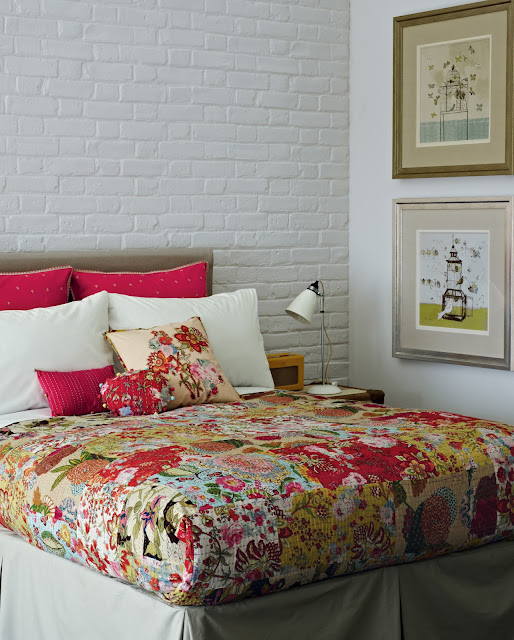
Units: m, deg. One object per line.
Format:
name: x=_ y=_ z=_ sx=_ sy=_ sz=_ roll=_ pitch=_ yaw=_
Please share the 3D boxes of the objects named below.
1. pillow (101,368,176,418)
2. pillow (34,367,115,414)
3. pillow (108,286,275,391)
pillow: x=-0.397 y=0.241 z=1.871 sx=0.156 sy=0.084 sz=0.183 roll=-1 pitch=-1 yaw=8
pillow: x=-0.598 y=0.226 z=1.927 sx=0.267 sy=0.148 sz=0.077 roll=-7 pitch=-23 yaw=-41
pillow: x=-0.279 y=0.077 z=2.267 sx=0.525 sy=0.340 sz=0.169 roll=0 pitch=-21 yaw=-36
